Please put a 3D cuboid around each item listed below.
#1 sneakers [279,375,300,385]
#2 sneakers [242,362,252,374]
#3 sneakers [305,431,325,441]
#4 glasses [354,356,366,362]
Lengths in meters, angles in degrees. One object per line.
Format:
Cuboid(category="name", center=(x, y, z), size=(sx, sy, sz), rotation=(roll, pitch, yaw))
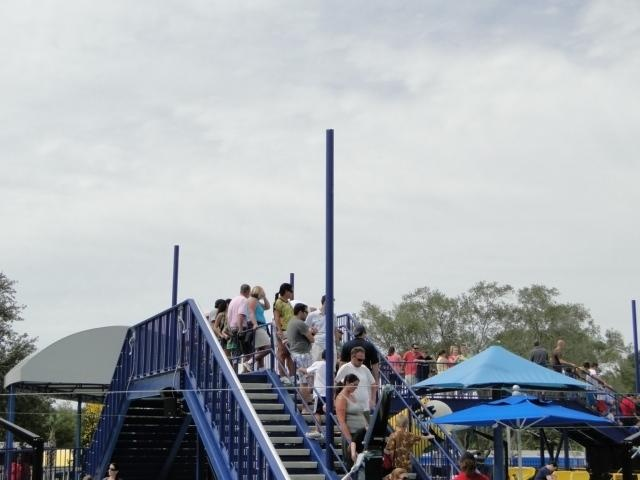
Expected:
Cuboid(category="sneakers", center=(-1.018, 4.423, 49.028), size=(0.678, 0.305, 0.242), rotation=(-4, -6, 39))
Cuboid(category="sneakers", center=(-2.419, 4.076, 50.374), size=(0.195, 0.487, 0.160), rotation=(4, 0, -16))
Cuboid(category="sneakers", center=(-0.172, 6.002, 47.618), size=(0.627, 0.297, 0.237), rotation=(24, -12, 3))
Cuboid(category="glasses", center=(1.239, 3.589, 47.372), size=(0.193, 0.206, 0.058), rotation=(-1, -17, 46))
